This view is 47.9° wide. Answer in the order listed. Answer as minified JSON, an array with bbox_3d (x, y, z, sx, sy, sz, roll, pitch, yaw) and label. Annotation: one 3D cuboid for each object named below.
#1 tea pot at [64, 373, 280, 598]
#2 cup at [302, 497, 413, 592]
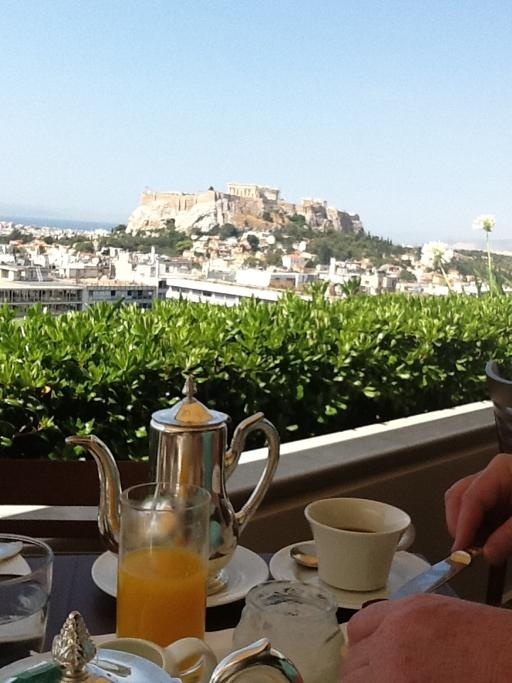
[{"bbox_3d":[-0.082,0.165,0.668,0.216,0.233,0.110,1,0,-4],"label":"tea pot"},{"bbox_3d":[0.113,0.217,0.647,0.083,0.052,0.115,1,-5,11],"label":"cup"}]
